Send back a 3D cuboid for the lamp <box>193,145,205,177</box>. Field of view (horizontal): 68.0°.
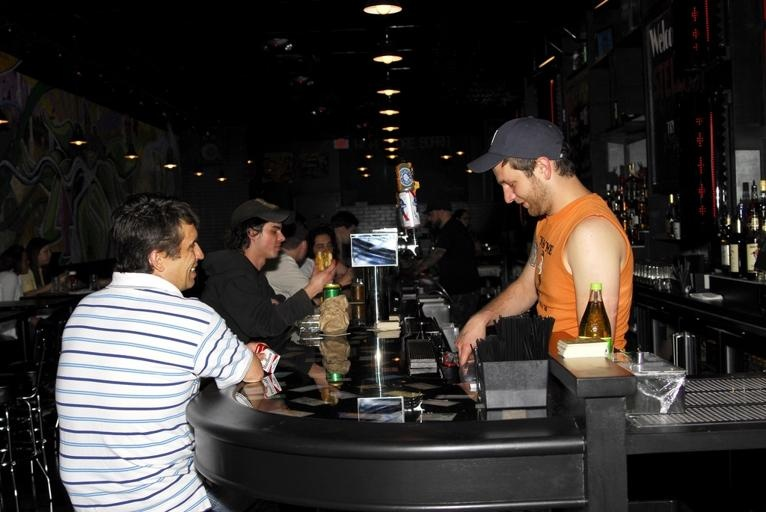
[{"bbox_3d":[-4.704,-2.396,14.410,0.343,0.768,0.179,-6,7,-19],"label":"lamp"}]

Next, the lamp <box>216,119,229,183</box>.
[{"bbox_3d":[-4.079,-2.565,14.249,0.326,1.402,0.868,-6,7,-12],"label":"lamp"}]

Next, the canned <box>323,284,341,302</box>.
[{"bbox_3d":[-0.307,0.220,3.407,0.096,0.105,0.095,0,5,-8],"label":"canned"}]

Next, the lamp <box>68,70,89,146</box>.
[{"bbox_3d":[-4.817,-2.211,8.901,0.263,1.147,1.818,-8,7,-27],"label":"lamp"}]

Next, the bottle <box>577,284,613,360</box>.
[{"bbox_3d":[0.785,0.220,2.107,0.119,0.238,0.385,-2,7,21],"label":"bottle"}]

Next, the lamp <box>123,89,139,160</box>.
[{"bbox_3d":[-4.905,-2.304,10.963,0.238,0.843,1.616,-7,7,-22],"label":"lamp"}]

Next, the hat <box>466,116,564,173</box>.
[{"bbox_3d":[0.595,-0.492,2.517,0.321,0.171,0.226,0,7,6],"label":"hat"}]

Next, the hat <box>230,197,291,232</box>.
[{"bbox_3d":[-0.764,-0.271,3.546,0.274,0.142,0.191,-10,6,-2],"label":"hat"}]

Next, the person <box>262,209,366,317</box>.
[{"bbox_3d":[-0.703,0.004,5.316,0.846,1.493,0.673,2,12,6],"label":"person"}]
